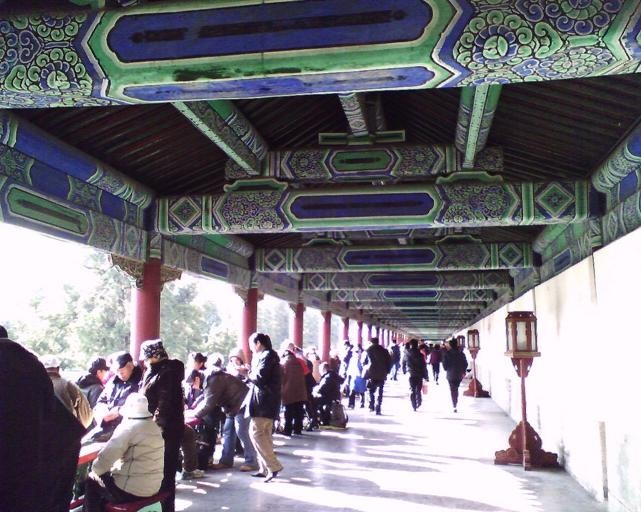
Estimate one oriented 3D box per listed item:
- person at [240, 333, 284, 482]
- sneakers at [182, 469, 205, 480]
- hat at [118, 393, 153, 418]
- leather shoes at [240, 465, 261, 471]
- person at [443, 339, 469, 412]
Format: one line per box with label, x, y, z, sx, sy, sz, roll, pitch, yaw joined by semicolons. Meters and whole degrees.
person;-0.620;1.600;6.531;0.413;1.534;0.637;1;-8;-7
sneakers;-1.330;2.319;6.432;0.263;0.108;0.087;8;-8;-26
hat;-1.400;1.160;4.692;0.218;0.115;0.189;8;-3;-15
leather shoes;-0.773;2.395;6.824;0.203;0.076;0.067;24;-32;-27
person;2.626;2.356;12.096;0.425;1.390;1.009;-2;-8;12
